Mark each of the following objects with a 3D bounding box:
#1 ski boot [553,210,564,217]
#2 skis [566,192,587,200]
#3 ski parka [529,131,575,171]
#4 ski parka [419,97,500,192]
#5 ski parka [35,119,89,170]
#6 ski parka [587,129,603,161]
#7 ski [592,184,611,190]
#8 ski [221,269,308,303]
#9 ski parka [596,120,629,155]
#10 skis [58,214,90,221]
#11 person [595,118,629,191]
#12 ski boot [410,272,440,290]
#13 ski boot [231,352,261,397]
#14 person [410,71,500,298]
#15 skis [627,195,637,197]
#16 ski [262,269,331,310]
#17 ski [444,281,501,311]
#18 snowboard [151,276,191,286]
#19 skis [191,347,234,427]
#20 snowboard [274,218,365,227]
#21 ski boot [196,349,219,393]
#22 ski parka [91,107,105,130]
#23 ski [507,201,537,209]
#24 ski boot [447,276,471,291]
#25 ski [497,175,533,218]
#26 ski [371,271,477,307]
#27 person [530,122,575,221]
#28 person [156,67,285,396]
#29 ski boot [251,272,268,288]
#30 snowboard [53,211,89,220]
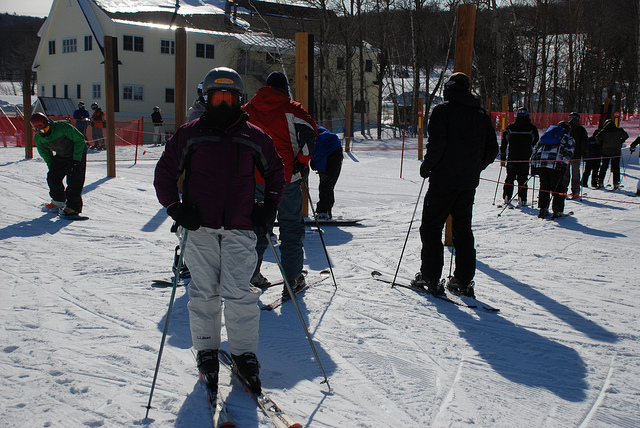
[{"bbox_3d":[4.847,-0.035,12.387,0.320,0.123,0.106,-5,10,-38],"label":"ski boot"},{"bbox_3d":[6.148,-0.415,14.579,0.480,0.197,0.283,-1,0,15],"label":"skis"},{"bbox_3d":[4.735,-1.303,12.505,0.417,0.761,0.776,10,7,-36],"label":"ski parka"},{"bbox_3d":[1.894,-0.955,8.317,1.021,1.265,0.332,-1,8,-17],"label":"ski parka"},{"bbox_3d":[-4.834,-1.298,11.360,0.866,0.909,0.419,-2,8,-22],"label":"ski parka"},{"bbox_3d":[7.034,-1.787,15.563,0.314,0.750,1.004,5,9,25],"label":"ski parka"},{"bbox_3d":[7.389,-0.722,16.024,0.909,0.085,0.212,-6,11,-42],"label":"ski"},{"bbox_3d":[-0.687,0.899,7.576,0.158,0.155,1.463,37,37,26],"label":"ski"},{"bbox_3d":[7.623,-1.948,15.856,0.863,1.018,0.600,-1,-7,42],"label":"ski parka"},{"bbox_3d":[-4.540,0.046,11.199,0.523,0.109,0.181,0,8,-9],"label":"skis"},{"bbox_3d":[7.489,-1.564,15.786,0.691,1.798,0.939,5,9,25],"label":"person"},{"bbox_3d":[1.452,0.915,8.667,0.438,0.200,0.163,21,34,33],"label":"ski boot"},{"bbox_3d":[-0.801,1.696,6.694,0.196,0.262,0.543,-7,41,-40],"label":"ski boot"},{"bbox_3d":[1.853,-0.391,8.406,0.944,3.051,0.391,3,8,9],"label":"person"},{"bbox_3d":[7.449,-0.455,14.590,0.167,0.017,0.186,5,9,22],"label":"skis"},{"bbox_3d":[-0.329,1.050,8.355,0.196,0.099,1.838,4,16,28],"label":"ski"},{"bbox_3d":[2.082,1.140,8.426,0.091,0.144,0.592,-1,30,-36],"label":"ski"},{"bbox_3d":[-2.117,0.934,8.658,0.512,0.096,0.304,0,8,-14],"label":"snowboard"},{"bbox_3d":[-1.155,1.870,6.640,0.109,0.047,0.989,2,35,-26],"label":"skis"},{"bbox_3d":[0.057,0.160,11.630,1.968,0.117,0.486,-2,9,-22],"label":"snowboard"},{"bbox_3d":[-1.238,1.683,6.725,0.174,0.516,0.230,0,-21,-26],"label":"ski boot"},{"bbox_3d":[-7.968,-3.438,21.849,0.440,0.759,0.612,-2,9,-23],"label":"ski parka"},{"bbox_3d":[4.562,-0.223,13.722,1.274,0.099,0.238,-6,11,-43],"label":"ski"},{"bbox_3d":[1.917,0.977,8.558,0.227,0.086,0.171,9,-2,-27],"label":"ski boot"},{"bbox_3d":[4.401,-0.383,13.748,0.137,1.142,0.162,34,-15,0],"label":"ski"},{"bbox_3d":[1.475,1.058,8.502,0.872,0.154,0.129,24,-15,32],"label":"ski"},{"bbox_3d":[4.871,-0.954,12.738,0.856,1.974,1.610,4,8,20],"label":"person"},{"bbox_3d":[-1.073,0.147,6.642,1.318,3.426,0.572,1,8,-5],"label":"person"},{"bbox_3d":[-0.908,0.936,8.703,0.318,0.213,0.105,-12,30,-22],"label":"ski boot"},{"bbox_3d":[-4.585,0.056,11.206,0.561,0.237,0.170,-4,9,-15],"label":"snowboard"}]
